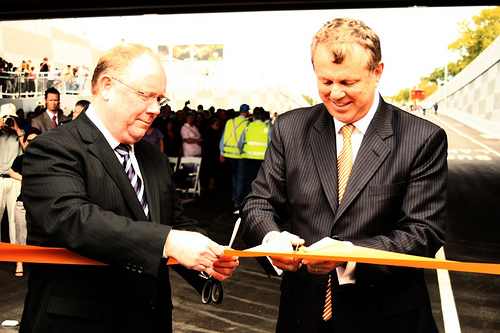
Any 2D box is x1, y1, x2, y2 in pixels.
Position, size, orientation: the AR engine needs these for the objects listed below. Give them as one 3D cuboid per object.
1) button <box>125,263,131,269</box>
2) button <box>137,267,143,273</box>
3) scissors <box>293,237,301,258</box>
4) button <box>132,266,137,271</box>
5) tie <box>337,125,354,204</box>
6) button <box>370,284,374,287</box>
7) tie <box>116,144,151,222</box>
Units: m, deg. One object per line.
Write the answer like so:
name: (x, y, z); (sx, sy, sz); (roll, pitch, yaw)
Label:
button: (-0.598, 0.487, 1.802); (0.022, 0.022, 0.005); (35, 32, 12)
button: (-0.538, 0.505, 1.796); (0.026, 0.027, 0.005); (7, 10, 14)
scissors: (0.242, 0.415, 1.871); (0.029, 0.097, 0.041); (25, -22, 4)
button: (-0.568, 0.500, 1.803); (0.020, 0.020, 0.005); (-36, 15, 46)
tie: (0.512, -0.001, 2.024); (0.072, 0.507, 0.056); (-9, -33, 42)
button: (0.622, 0.602, 1.870); (0.022, 0.016, 0.004); (3, 10, -11)
tie: (-0.697, 0.073, 2.140); (0.162, 0.469, 0.050); (0, -31, -45)
